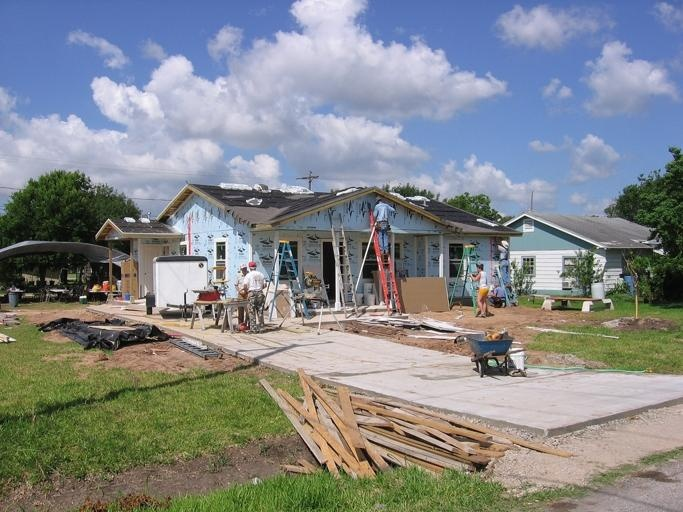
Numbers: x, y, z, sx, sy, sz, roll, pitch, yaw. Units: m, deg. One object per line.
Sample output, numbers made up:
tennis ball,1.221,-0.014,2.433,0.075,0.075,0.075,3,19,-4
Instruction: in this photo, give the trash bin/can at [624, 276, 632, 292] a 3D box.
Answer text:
trash bin/can,15.437,1.558,31.482,0.478,0.816,1.290,2,7,25

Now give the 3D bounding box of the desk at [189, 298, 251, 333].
desk,-3.609,1.690,17.510,1.486,1.221,1.508,4,3,-21

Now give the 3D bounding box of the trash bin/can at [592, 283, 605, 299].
trash bin/can,11.308,1.545,25.873,0.650,0.663,0.624,0,5,3

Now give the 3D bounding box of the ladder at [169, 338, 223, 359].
ladder,-3.496,2.233,14.224,0.737,0.156,2.371,-5,7,-33

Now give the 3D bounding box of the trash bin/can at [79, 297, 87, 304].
trash bin/can,-12.357,2.088,28.150,0.344,0.304,0.346,2,6,6

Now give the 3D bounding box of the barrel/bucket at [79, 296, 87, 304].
barrel/bucket,-12.401,2.113,28.154,0.387,0.335,0.391,0,-4,0

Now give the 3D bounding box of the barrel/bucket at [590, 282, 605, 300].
barrel/bucket,11.451,1.579,26.229,0.695,0.713,0.667,0,5,0

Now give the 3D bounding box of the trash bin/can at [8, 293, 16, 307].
trash bin/can,-14.895,1.967,26.673,0.323,0.606,0.568,-5,8,-30
